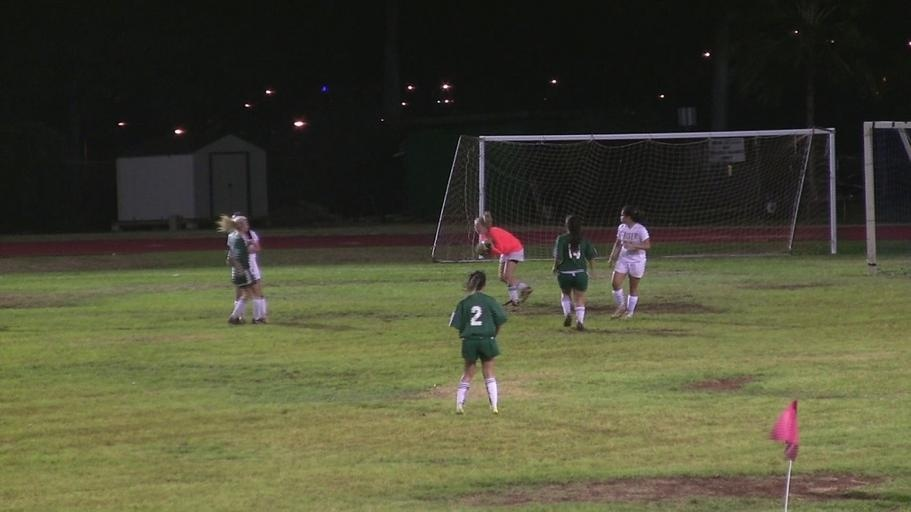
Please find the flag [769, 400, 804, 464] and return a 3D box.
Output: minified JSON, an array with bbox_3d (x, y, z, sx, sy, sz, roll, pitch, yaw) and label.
[{"bbox_3d":[11.392,6.113,40.047,1.072,0.882,2.474,16,-34,19],"label":"flag"}]
